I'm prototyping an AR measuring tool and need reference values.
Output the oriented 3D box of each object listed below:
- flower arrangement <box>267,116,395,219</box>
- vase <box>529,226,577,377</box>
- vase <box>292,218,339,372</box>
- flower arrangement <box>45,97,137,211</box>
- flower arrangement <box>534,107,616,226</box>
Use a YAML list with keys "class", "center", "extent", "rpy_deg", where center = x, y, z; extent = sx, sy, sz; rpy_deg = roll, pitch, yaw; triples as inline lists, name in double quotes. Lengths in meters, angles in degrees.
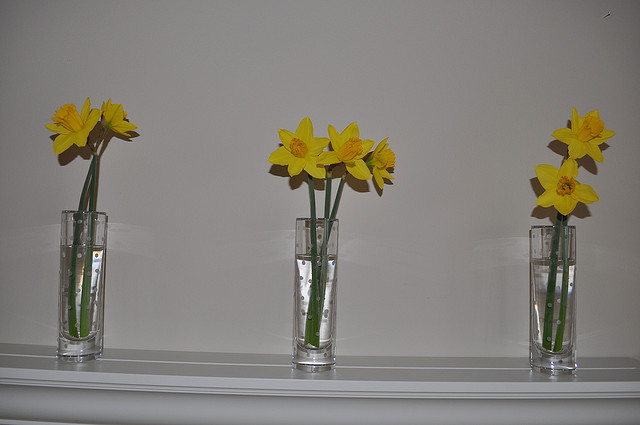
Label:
- class: "flower arrangement"
  center: [0.019, -0.076, 1.617]
  extent: [0.333, 0.126, 0.378]
  rpy_deg: [8, -82, 2]
- class: "vase"
  center: [0.644, 0.244, 1.580]
  extent: [0.119, 0.295, 0.296]
  rpy_deg: [-1, -46, 6]
- class: "vase"
  center: [-0.015, 0.228, 1.566]
  extent: [0.119, 0.283, 0.313]
  rpy_deg: [2, -46, 3]
- class: "flower arrangement"
  center: [-0.667, -0.157, 1.672]
  extent: [0.241, 0.295, 0.197]
  rpy_deg: [0, -21, -9]
- class: "flower arrangement"
  center: [0.727, -0.075, 1.683]
  extent: [0.185, 0.174, 0.466]
  rpy_deg: [4, -63, 13]
